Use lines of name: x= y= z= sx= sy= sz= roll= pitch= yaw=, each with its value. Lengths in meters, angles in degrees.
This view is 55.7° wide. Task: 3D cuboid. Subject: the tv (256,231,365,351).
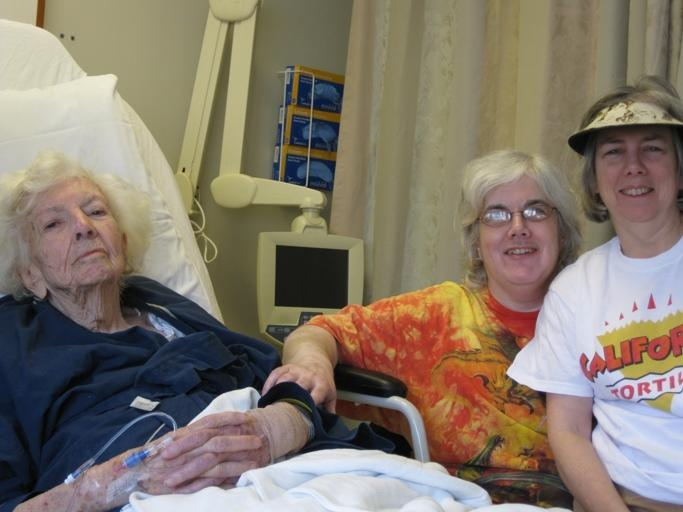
tv: x=-0.142 y=0.134 z=3.105 sx=0.475 sy=0.560 sz=0.289 roll=2 pitch=13 yaw=-4
